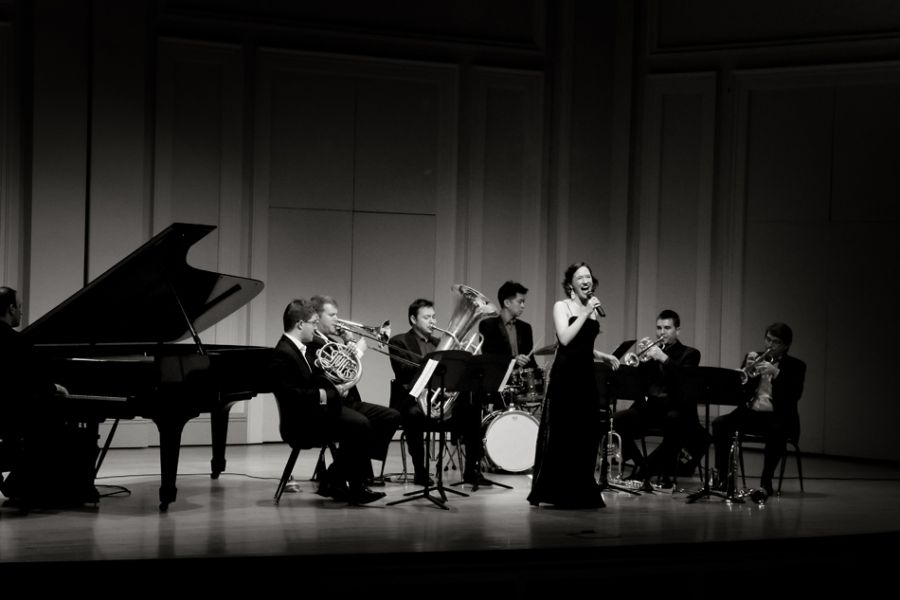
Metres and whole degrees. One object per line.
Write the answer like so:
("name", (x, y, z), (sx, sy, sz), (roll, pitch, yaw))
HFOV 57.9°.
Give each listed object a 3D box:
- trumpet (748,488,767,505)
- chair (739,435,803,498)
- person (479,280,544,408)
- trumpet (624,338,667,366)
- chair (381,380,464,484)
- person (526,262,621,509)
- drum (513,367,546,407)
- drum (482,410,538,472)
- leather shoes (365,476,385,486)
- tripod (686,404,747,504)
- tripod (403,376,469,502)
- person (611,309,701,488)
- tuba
("trumpet", (2.774, 1.757, 7.292), (0.135, 0.098, 0.121), (-1, -3, 9))
("chair", (3.219, 1.678, 8.121), (0.454, 0.560, 0.586), (0, -2, 4))
("person", (0.629, 0.373, 8.313), (0.545, 1.369, 0.458), (1, 4, -26))
("trumpet", (1.940, 0.506, 8.046), (0.358, 0.267, 0.515), (1, 1, 11))
("chair", (-0.220, 1.159, 7.820), (0.508, 1.252, 0.482), (2, -2, -34))
("person", (1.000, 0.736, 6.811), (0.641, 2.072, 0.483), (1, 1, 10))
("drum", (0.784, 0.847, 8.123), (0.325, 0.321, 0.331), (0, -7, -3))
("drum", (0.604, 1.387, 8.046), (0.557, 0.567, 0.285), (3, 16, -15))
("leather shoes", (-0.718, 1.734, 7.809), (0.204, 0.082, 0.070), (0, 1, -7))
("tripod", (2.483, 1.523, 7.567), (0.504, 0.965, 0.534), (5, 10, 26))
("tripod", (-0.144, 1.274, 7.350), (0.506, 1.136, 0.545), (2, 5, 11))
("person", (2.044, 1.089, 8.145), (0.795, 1.961, 0.768), (2, -2, -38))
("tuba", (0.033, 0.428, 7.991), (0.641, 1.399, 0.531), (5, 2, 37))
